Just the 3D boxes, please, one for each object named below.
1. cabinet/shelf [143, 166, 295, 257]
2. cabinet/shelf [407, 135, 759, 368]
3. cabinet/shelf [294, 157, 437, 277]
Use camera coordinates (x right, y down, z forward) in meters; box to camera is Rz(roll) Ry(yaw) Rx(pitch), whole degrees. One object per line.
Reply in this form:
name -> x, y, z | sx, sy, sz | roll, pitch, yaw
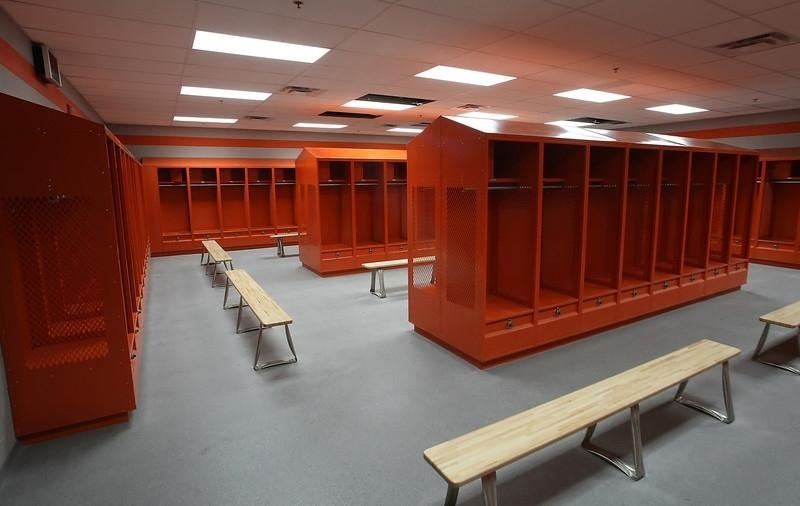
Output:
cabinet/shelf -> -5.083, -1.141, 12.657 | 2.908, 1.553, 0.446 | -6, 14, -25
cabinet/shelf -> 3.496, -0.441, 7.918 | 7.240, 3.029, 1.886 | -6, 11, -31
cabinet/shelf -> -0.929, -0.958, 10.452 | 2.887, 2.399, 1.080 | -7, 13, -40
